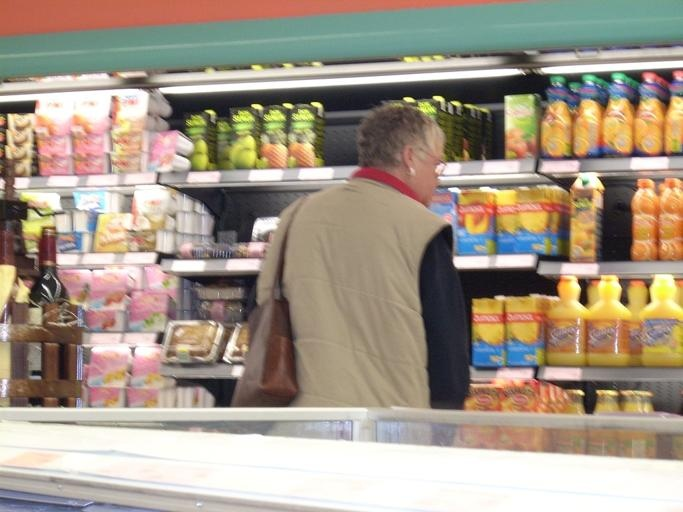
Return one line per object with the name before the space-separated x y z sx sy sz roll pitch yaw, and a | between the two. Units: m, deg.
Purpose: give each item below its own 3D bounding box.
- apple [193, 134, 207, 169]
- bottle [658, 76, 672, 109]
apple | -0.642 -0.465 5.239 0.080 0.121 0.047 -17 -15 13
bottle | 1.345 -0.684 4.793 0.049 0.107 0.111 1 10 -2
